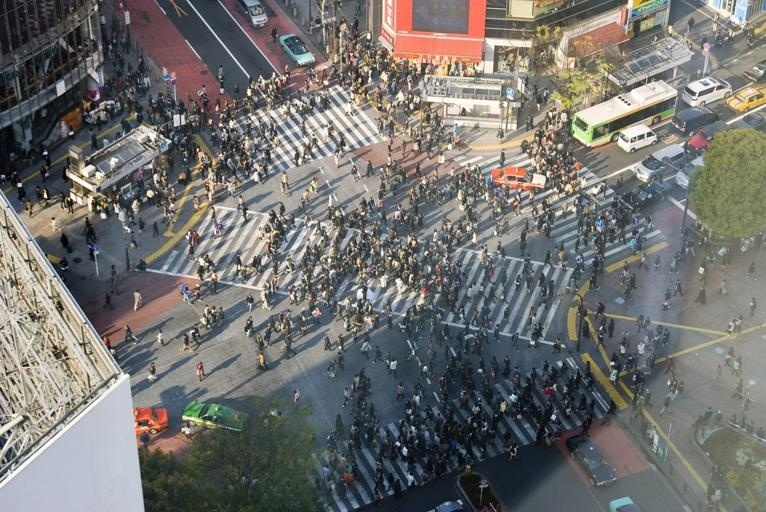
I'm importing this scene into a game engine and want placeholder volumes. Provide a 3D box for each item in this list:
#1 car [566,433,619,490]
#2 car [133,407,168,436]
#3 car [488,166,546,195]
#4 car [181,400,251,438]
[{"bbox_3d":[18.488,18.175,125.533,2.388,1.721,5.277,-30,64,-1],"label":"car"},{"bbox_3d":[-20.945,15.095,128.160,2.871,1.489,2.162,-3,68,-18],"label":"car"},{"bbox_3d":[14.003,-8.095,146.487,4.974,1.939,2.805,8,64,5],"label":"car"},{"bbox_3d":[-15.074,14.251,127.447,5.437,2.397,2.977,12,56,-1],"label":"car"}]
